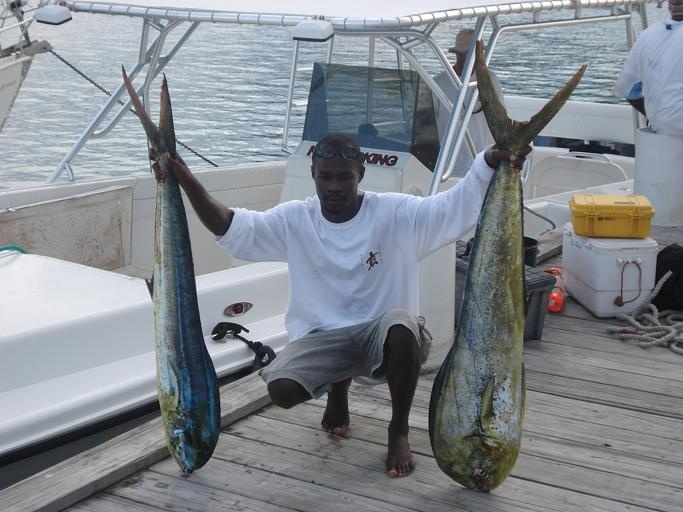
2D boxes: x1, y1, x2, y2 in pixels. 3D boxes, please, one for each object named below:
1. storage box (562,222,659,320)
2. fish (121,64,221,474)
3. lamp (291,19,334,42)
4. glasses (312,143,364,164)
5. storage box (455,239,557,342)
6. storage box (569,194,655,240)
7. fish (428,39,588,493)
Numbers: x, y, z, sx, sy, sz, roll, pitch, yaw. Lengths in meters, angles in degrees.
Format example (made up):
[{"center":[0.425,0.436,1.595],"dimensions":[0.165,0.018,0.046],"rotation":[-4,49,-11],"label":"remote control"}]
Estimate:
[{"center":[1.645,0.098,4.027],"dimensions":[0.510,0.486,0.715],"rotation":[-1,8,-4],"label":"storage box"},{"center":[-0.563,0.127,2.433],"dimensions":[0.285,1.685,0.392],"rotation":[-10,12,-7],"label":"fish"},{"center":[-0.121,-1.040,2.888],"dimensions":[0.218,0.103,0.182],"rotation":[-7,18,-15],"label":"lamp"},{"center":[-0.017,-0.411,2.508],"dimensions":[0.196,0.076,0.077],"rotation":[-2,17,0],"label":"glasses"},{"center":[0.919,0.195,3.708],"dimensions":[0.631,0.394,0.426],"rotation":[20,28,38],"label":"storage box"},{"center":[1.672,-0.233,3.936],"dimensions":[0.431,0.211,0.302],"rotation":[1,14,-1],"label":"storage box"},{"center":[0.614,0.088,2.412],"dimensions":[0.460,1.705,0.408],"rotation":[8,13,18],"label":"fish"}]
